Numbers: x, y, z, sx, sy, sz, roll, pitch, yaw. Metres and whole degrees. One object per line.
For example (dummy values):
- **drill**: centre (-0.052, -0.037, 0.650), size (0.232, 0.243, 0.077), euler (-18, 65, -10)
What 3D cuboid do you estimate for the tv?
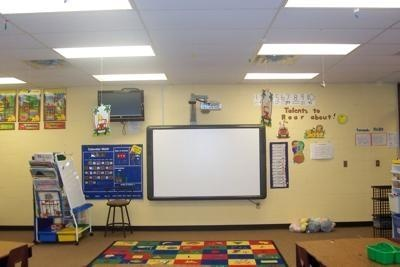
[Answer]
- **tv**: centre (-1.799, -0.643, 7.178), size (0.870, 0.556, 0.134), euler (0, -3, -2)

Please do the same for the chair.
- **chair**: centre (-1.963, 1.919, 7.359), size (0.706, 0.729, 0.678), euler (2, -3, 6)

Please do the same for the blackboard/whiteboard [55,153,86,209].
- **blackboard/whiteboard**: centre (-2.853, 1.012, 7.003), size (0.375, 1.186, 0.490), euler (1, 6, 16)
